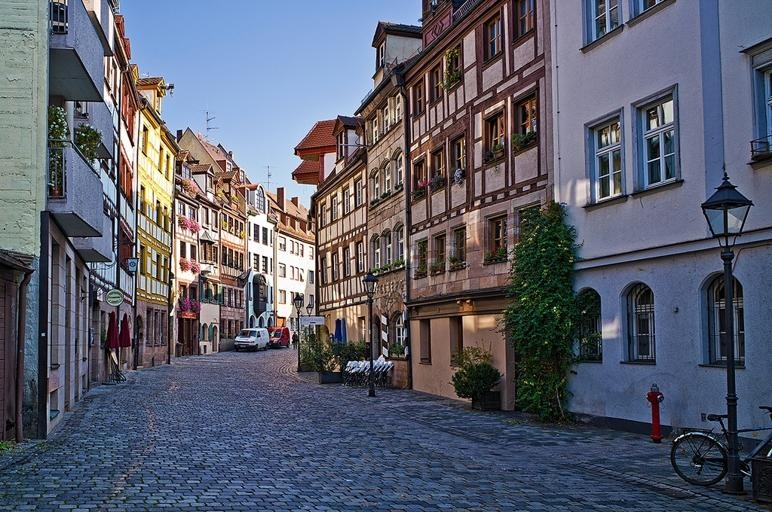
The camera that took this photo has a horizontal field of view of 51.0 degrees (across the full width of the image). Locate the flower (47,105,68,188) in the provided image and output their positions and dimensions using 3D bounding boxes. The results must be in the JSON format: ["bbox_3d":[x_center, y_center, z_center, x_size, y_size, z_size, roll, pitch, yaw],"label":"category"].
[{"bbox_3d":[-7.730,-2.448,19.016,0.494,2.240,0.612,5,-14,-25],"label":"flower"}]

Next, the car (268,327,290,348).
[{"bbox_3d":[-9.998,7.582,75.285,1.262,2.393,4.943,-1,-14,2],"label":"car"}]

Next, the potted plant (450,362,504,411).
[{"bbox_3d":[2.690,3.827,24.838,0.935,1.231,1.135,-8,1,-28],"label":"potted plant"}]

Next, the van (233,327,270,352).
[{"bbox_3d":[-11.185,7.021,67.425,1.418,1.243,2.609,-2,-10,7],"label":"van"}]

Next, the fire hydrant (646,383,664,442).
[{"bbox_3d":[6.259,3.640,18.766,0.351,1.327,0.789,-4,-13,18],"label":"fire hydrant"}]

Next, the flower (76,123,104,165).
[{"bbox_3d":[-7.860,-2.879,21.169,0.618,1.020,0.736,-3,9,16],"label":"flower"}]
